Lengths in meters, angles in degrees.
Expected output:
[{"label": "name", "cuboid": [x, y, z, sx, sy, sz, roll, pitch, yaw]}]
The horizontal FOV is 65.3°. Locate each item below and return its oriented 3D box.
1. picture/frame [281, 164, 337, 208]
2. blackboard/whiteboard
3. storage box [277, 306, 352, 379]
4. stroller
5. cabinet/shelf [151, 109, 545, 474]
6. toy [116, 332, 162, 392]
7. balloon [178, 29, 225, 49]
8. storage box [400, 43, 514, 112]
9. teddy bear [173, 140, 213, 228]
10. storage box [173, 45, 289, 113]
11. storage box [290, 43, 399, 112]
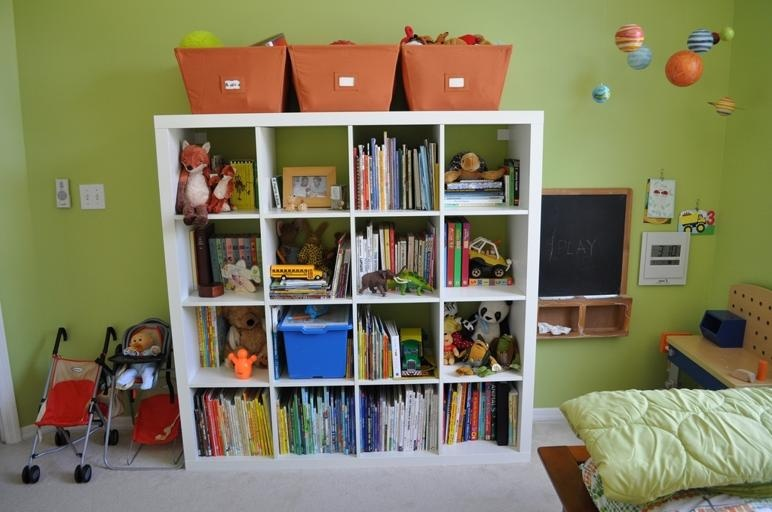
[{"label": "picture/frame", "cuboid": [-0.481, -0.425, 3.758, 0.268, 0.221, 0.019, -1, 5, 0]}, {"label": "blackboard/whiteboard", "cuboid": [1.305, -0.106, 3.982, 0.718, 0.691, 0.071, -2, 9, -8]}, {"label": "storage box", "cuboid": [-0.424, 0.542, 3.876, 0.392, 0.319, 0.474, 0, 3, -2]}, {"label": "stroller", "cuboid": [-2.035, 0.926, 3.861, 0.596, 0.860, 0.651, -4, 11, -21]}, {"label": "cabinet/shelf", "cuboid": [-0.254, 0.240, 3.748, 2.256, 2.107, 0.534, 0, 8, -4]}, {"label": "toy", "cuboid": [-1.572, 0.661, 3.819, 0.289, 0.409, 0.378, 1, -3, 3]}, {"label": "balloon", "cuboid": [-1.095, -1.266, 3.590, 0.186, 0.126, 0.221, 11, 27, 13]}, {"label": "storage box", "cuboid": [0.401, -1.037, 3.509, 0.533, 0.276, 0.379, -1, 10, -3]}, {"label": "teddy bear", "cuboid": [-1.163, -0.437, 3.606, 0.209, 0.493, 0.233, -4, 11, -19]}, {"label": "storage box", "cuboid": [-0.892, -0.999, 3.546, 0.501, 0.262, 0.399, -1, 7, -6]}, {"label": "storage box", "cuboid": [-0.245, -1.037, 3.492, 0.503, 0.259, 0.395, -1, 9, -3]}]
